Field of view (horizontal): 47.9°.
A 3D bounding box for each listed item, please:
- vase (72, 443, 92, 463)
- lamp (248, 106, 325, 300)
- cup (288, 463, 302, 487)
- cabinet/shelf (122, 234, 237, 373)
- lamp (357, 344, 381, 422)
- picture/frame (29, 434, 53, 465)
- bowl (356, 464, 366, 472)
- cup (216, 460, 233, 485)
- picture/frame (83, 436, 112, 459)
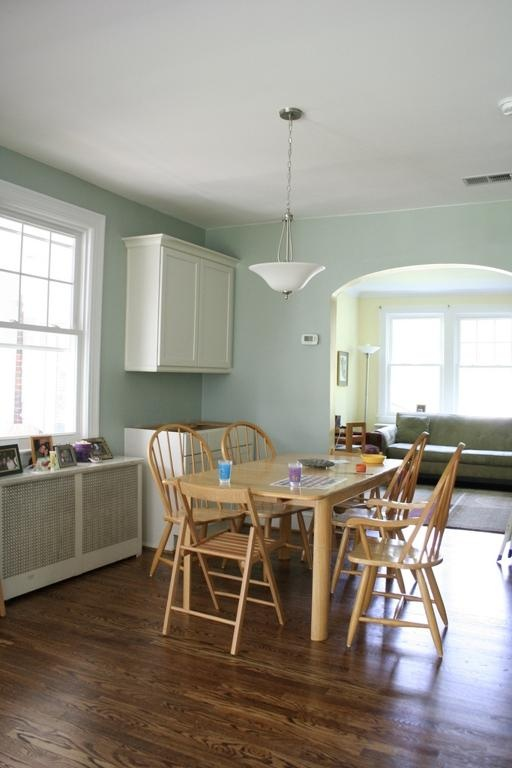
[{"bbox_3d":[-1.042,0.404,3.481,0.103,0.104,0.105,-5,7,-39],"label":"vase"},{"bbox_3d":[0.150,-0.856,2.712,0.343,0.823,0.350,3,13,9],"label":"lamp"},{"bbox_3d":[0.178,0.416,2.601,0.083,0.130,0.082,0,-3,0],"label":"cup"},{"bbox_3d":[-0.545,-0.571,4.412,0.328,0.954,1.026,3,3,28],"label":"cabinet/shelf"},{"bbox_3d":[1.671,-0.033,8.410,0.289,1.155,0.776,0,-1,10],"label":"lamp"},{"bbox_3d":[-1.206,0.372,3.230,0.020,0.191,0.141,-9,-10,28],"label":"picture/frame"},{"bbox_3d":[0.566,0.446,3.077,0.037,0.028,0.037,-1,4,0],"label":"bowl"},{"bbox_3d":[-0.155,0.420,2.717,0.087,0.130,0.090,-1,-2,0],"label":"cup"},{"bbox_3d":[-0.998,0.397,3.597,0.014,0.095,0.135,-26,-2,12],"label":"picture/frame"}]
